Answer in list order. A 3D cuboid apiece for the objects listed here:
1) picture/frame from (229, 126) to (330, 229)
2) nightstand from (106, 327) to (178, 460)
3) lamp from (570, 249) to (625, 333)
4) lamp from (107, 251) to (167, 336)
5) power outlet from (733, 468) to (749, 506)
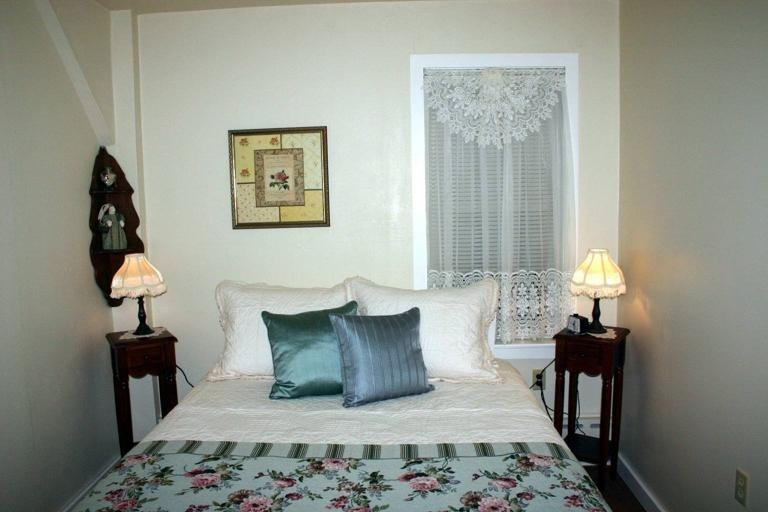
[{"bbox_3d":[-0.766,-0.621,4.165,0.698,0.681,0.050,-1,4,1],"label":"picture/frame"},{"bbox_3d":[-1.703,0.949,4.037,0.553,0.771,0.564,-5,0,-1],"label":"nightstand"},{"bbox_3d":[1.432,0.220,3.804,0.324,0.556,0.189,1,8,23],"label":"lamp"},{"bbox_3d":[-1.746,0.244,3.939,0.323,0.553,0.348,-9,10,-39],"label":"lamp"},{"bbox_3d":[1.955,1.228,3.091,0.023,0.182,0.085,-4,8,-10],"label":"power outlet"}]
